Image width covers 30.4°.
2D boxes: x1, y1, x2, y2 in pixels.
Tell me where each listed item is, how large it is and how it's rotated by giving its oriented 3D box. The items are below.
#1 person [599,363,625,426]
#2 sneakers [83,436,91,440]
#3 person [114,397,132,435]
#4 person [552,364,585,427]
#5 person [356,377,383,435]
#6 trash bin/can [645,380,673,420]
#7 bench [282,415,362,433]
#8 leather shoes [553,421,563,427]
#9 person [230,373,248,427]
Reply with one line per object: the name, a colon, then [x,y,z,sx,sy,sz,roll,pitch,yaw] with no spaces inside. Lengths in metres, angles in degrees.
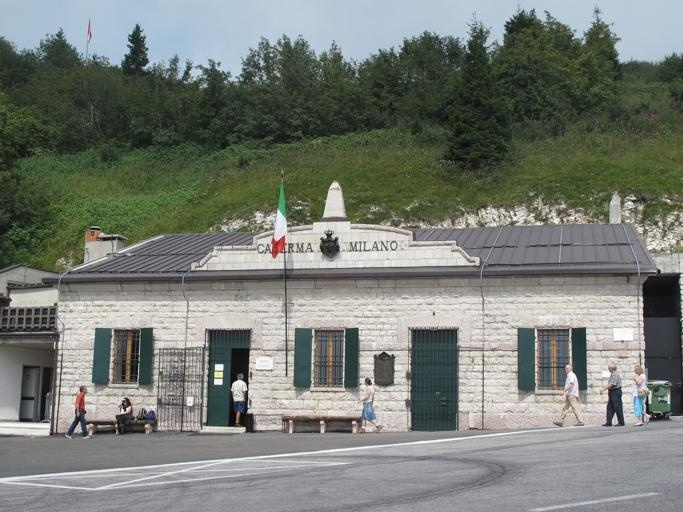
person: [11.784,6.057,54.812,0.805,2.702,1.396,-3,-10,12]
sneakers: [-11.532,8.200,57.026,0.366,0.159,0.131,-3,-2,4]
person: [-10.079,7.371,58.390,0.791,1.694,0.525,1,-10,-9]
person: [9.971,6.056,55.433,1.165,2.821,1.354,-2,-10,7]
person: [1.203,6.693,56.875,0.905,2.405,1.268,-3,-10,11]
trash bin/can: [14.121,6.469,57.004,1.520,1.708,1.598,-2,-13,19]
bench: [-0.947,7.603,57.253,3.599,0.857,1.341,0,-10,-3]
leather shoes: [9.514,7.381,55.482,0.390,0.170,0.129,3,-6,43]
person: [-4.716,6.610,58.015,0.745,2.411,1.009,0,-10,-4]
